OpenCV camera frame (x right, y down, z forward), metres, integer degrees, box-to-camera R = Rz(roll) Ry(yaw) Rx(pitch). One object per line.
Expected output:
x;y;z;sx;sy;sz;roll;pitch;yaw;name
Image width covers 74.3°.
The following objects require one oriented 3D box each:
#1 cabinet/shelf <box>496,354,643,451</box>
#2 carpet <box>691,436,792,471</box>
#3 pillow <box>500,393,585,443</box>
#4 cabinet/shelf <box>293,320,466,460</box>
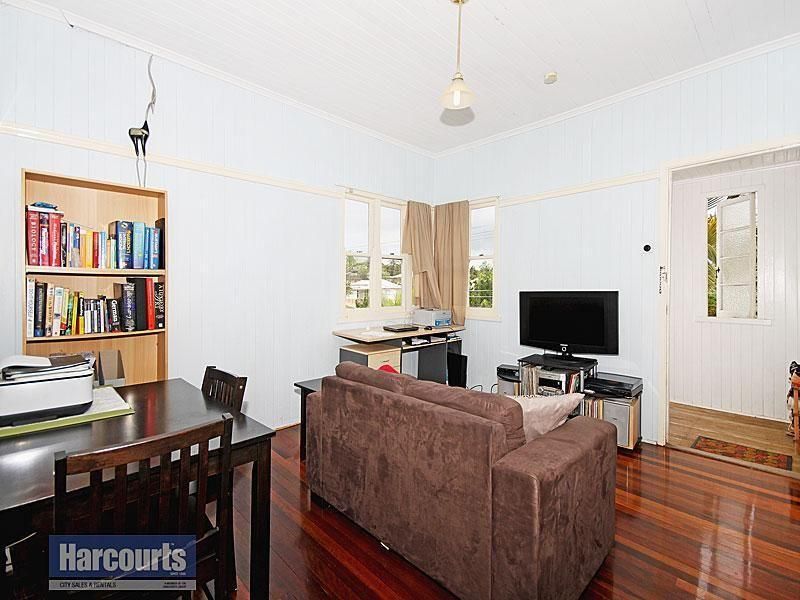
1.638;0.921;5.209;1.298;0.791;0.482;7;14;33;cabinet/shelf
3.009;1.342;4.675;0.735;0.079;0.396;3;3;39;carpet
0.925;0.697;3.275;0.333;0.109;0.350;-18;-21;21;pillow
-0.186;0.964;5.674;0.639;1.247;1.840;4;5;41;cabinet/shelf
